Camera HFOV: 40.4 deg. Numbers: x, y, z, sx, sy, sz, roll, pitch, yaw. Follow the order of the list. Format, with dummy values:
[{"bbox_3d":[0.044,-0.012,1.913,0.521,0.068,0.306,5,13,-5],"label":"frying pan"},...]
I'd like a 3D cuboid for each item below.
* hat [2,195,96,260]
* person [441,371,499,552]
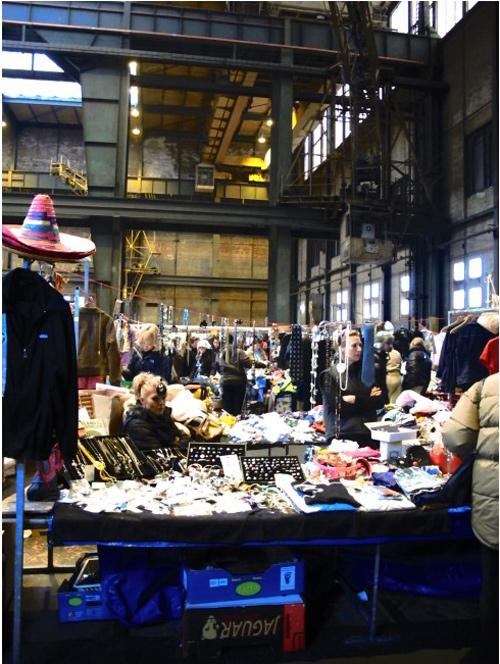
[{"bbox_3d":[-1.071,-0.497,3.556,0.441,0.203,0.406,12,13,19],"label":"hat"},{"bbox_3d":[1.067,0.607,3.241,0.118,0.823,0.293,1,0,-38],"label":"person"}]
